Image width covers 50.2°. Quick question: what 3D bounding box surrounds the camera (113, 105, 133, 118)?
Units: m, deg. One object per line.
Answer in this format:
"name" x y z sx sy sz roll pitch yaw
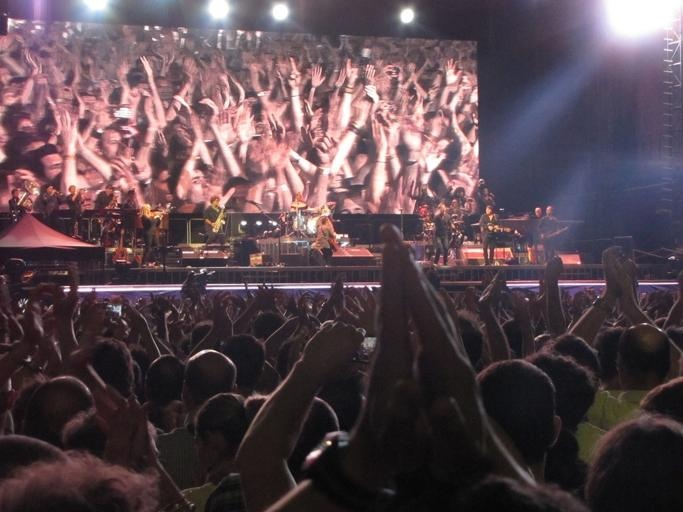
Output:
"camera" -5.884 -3.902 19.761 0.373 0.245 0.376 4 5 20

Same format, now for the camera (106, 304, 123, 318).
"camera" -1.979 0.475 6.353 0.156 0.147 0.267 5 0 -16

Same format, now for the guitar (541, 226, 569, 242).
"guitar" 4.524 -0.471 15.569 0.701 0.093 0.114 -20 45 3
